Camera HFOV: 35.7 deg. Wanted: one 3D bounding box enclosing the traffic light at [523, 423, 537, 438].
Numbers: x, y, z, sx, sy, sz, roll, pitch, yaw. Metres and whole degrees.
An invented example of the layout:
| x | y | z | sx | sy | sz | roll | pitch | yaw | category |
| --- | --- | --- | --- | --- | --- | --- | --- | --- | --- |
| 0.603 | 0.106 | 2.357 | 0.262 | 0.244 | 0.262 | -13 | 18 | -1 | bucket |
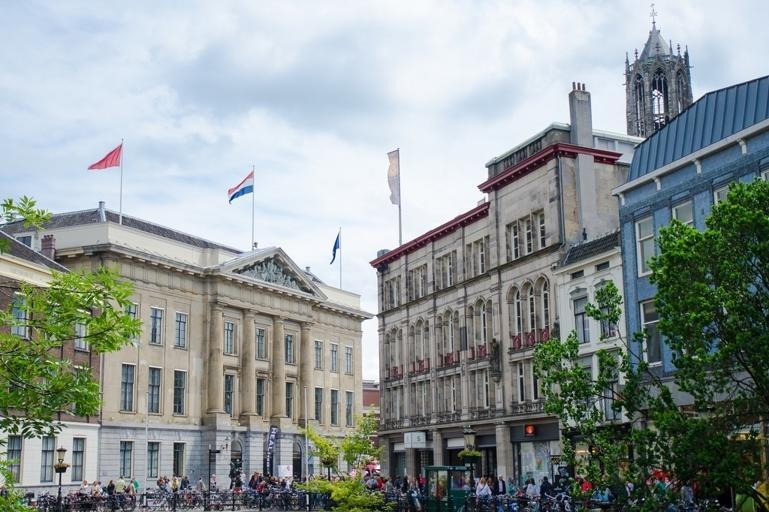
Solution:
| x | y | z | sx | sy | sz | roll | pitch | yaw | category |
| --- | --- | --- | --- | --- | --- | --- | --- | --- | --- |
| 9.053 | 10.804 | 73.940 | 0.408 | 0.879 | 0.865 | 8 | -24 | -27 | traffic light |
